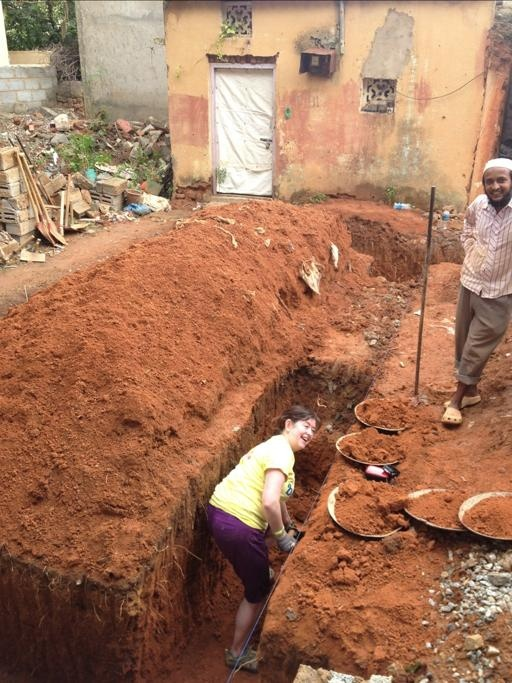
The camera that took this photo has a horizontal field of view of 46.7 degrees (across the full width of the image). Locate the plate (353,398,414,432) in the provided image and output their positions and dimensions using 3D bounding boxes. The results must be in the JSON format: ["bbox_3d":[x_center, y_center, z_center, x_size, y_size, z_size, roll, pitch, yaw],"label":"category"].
[{"bbox_3d":[1.014,0.582,4.570,0.488,0.109,0.462,-4,21,-8],"label":"plate"}]

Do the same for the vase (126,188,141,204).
[{"bbox_3d":[-2.478,-2.935,11.989,0.306,0.218,0.291,2,34,-4],"label":"vase"}]

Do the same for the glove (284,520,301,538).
[{"bbox_3d":[0.244,1.243,3.866,0.043,0.083,0.128,-10,-7,7],"label":"glove"}]

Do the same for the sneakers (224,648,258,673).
[{"bbox_3d":[-0.079,1.994,3.663,0.251,0.104,0.142,0,29,8],"label":"sneakers"}]

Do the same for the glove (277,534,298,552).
[{"bbox_3d":[0.189,1.218,3.548,0.108,0.149,0.139,-1,64,4],"label":"glove"}]

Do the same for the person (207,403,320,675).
[{"bbox_3d":[0.068,1.240,3.640,0.661,1.564,0.572,-8,24,-17],"label":"person"}]

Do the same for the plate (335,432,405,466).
[{"bbox_3d":[0.789,0.796,4.131,0.437,0.184,0.534,2,21,6],"label":"plate"}]
